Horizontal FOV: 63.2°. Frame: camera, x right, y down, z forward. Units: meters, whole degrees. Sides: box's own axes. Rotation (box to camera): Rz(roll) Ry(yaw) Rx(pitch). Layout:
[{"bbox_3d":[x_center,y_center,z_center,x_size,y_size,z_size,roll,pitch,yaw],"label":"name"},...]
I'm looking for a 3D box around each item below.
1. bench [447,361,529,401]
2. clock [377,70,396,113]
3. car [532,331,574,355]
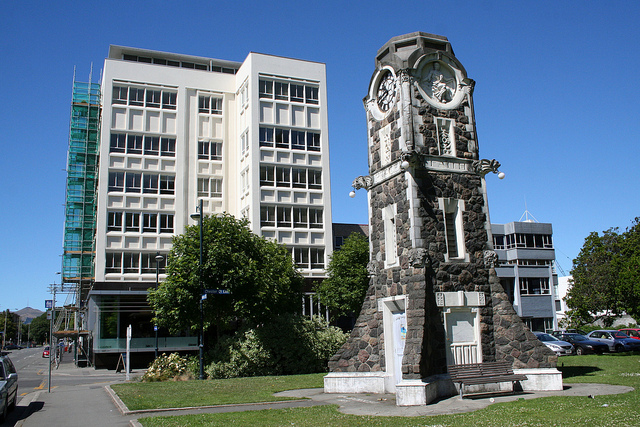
[{"bbox_3d":[7.344,7.266,22.846,3.291,1.392,1.245,2,-12,-20],"label":"bench"},{"bbox_3d":[3.409,-6.369,26.838,0.141,2.157,1.463,6,-15,-32],"label":"clock"},{"bbox_3d":[18.875,10.437,41.929,2.111,1.629,2.801,-2,-13,0],"label":"car"}]
